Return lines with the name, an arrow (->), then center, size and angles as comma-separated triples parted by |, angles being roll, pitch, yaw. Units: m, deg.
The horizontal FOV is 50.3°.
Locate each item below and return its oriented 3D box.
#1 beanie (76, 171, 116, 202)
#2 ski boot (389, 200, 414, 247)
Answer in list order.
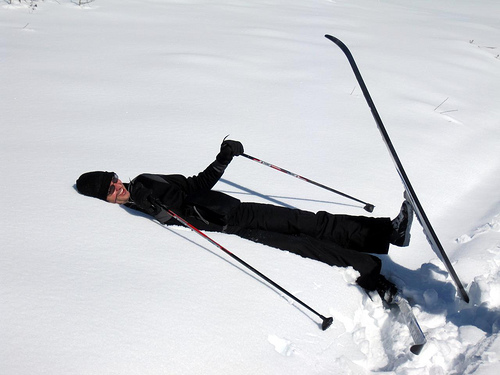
beanie -> -1.918, -0.064, 6.571 | 0.438, 0.346, 0.310 | 13, 36, -9
ski boot -> 1.723, 0.453, 6.300 | 0.285, 0.575, 0.198 | 1, 17, -9
